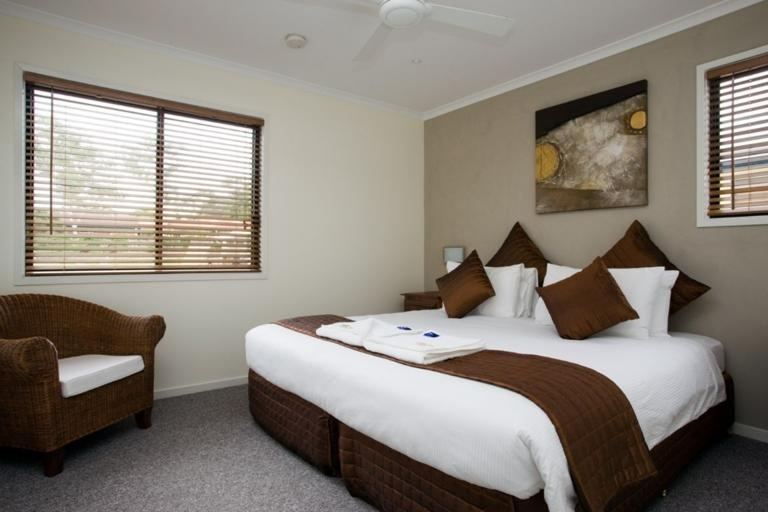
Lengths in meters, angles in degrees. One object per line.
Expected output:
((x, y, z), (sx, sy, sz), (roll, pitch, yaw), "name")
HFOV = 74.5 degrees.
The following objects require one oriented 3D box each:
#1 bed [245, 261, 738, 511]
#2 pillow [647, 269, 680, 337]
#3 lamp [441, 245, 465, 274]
((0.841, 0.733, 3.797), (3.628, 1.021, 2.193), (-3, 13, -11), "bed")
((2.362, 0.409, 4.277), (0.138, 0.466, 0.485), (4, 3, 31), "pillow")
((0.841, 0.025, 6.011), (0.113, 0.305, 0.322), (8, -10, -41), "lamp")
